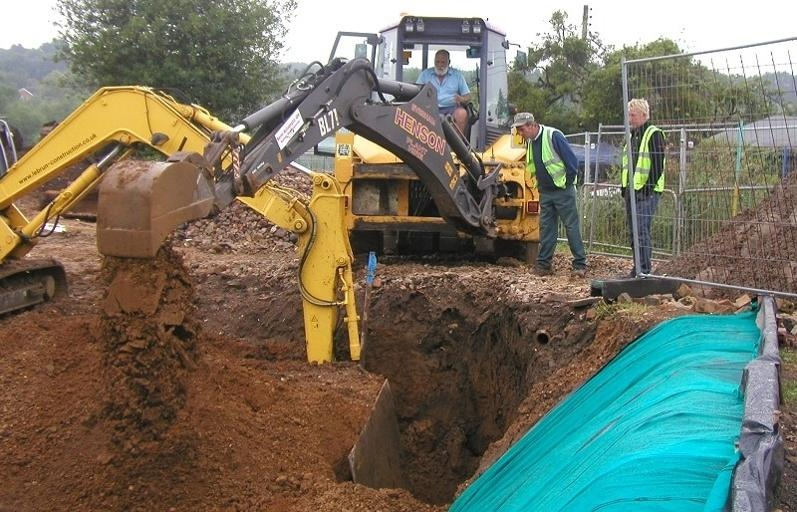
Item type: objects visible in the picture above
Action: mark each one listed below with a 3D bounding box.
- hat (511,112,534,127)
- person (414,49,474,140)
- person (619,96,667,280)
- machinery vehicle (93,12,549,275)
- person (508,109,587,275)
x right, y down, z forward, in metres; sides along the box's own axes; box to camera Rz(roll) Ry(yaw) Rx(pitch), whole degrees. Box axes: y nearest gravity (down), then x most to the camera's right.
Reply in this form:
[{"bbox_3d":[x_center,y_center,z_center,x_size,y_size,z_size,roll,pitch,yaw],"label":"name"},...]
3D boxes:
[{"bbox_3d":[1.740,-1.951,9.500,0.340,0.197,0.259,8,21,24],"label":"hat"},{"bbox_3d":[0.701,-2.448,10.525,0.910,1.593,0.847,-6,16,-11],"label":"person"},{"bbox_3d":[3.041,-0.865,8.270,0.456,2.122,0.565,3,8,22],"label":"person"},{"bbox_3d":[-0.148,-1.738,9.279,2.677,3.506,5.830,9,12,32],"label":"machinery vehicle"},{"bbox_3d":[2.189,-0.892,9.646,1.027,2.330,0.539,3,8,16],"label":"person"}]
